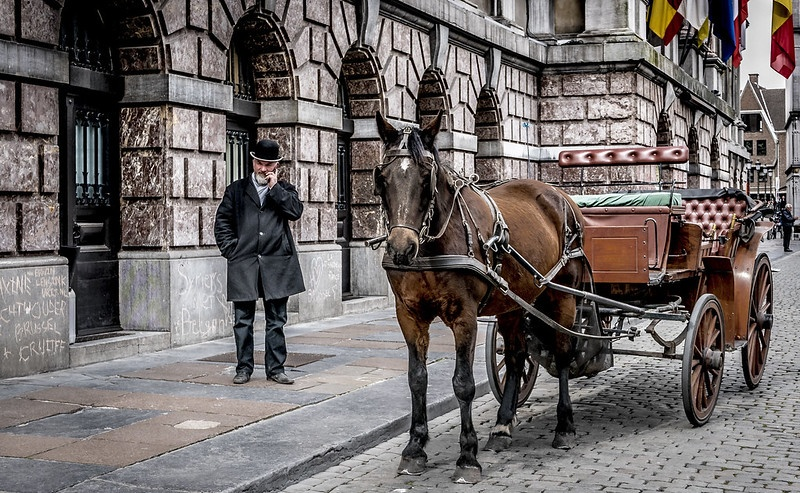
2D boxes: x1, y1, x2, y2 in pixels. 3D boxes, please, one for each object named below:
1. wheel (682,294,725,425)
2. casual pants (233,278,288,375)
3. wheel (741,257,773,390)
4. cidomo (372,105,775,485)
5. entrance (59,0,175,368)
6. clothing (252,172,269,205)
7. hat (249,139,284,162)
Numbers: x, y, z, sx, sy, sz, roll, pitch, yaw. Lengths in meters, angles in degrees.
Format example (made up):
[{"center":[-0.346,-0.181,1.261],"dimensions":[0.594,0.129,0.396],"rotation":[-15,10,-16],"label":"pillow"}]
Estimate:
[{"center":[3.723,1.418,10.907],"dimensions":[0.440,1.472,1.471],"rotation":[-1,1,33],"label":"wheel"},{"center":[-1.842,1.227,11.812],"dimensions":[0.681,1.115,0.445],"rotation":[1,8,-10],"label":"casual pants"},{"center":[4.843,1.028,12.105],"dimensions":[0.419,1.750,1.692],"rotation":[1,2,30],"label":"wheel"},{"center":[2.229,0.440,11.278],"dimensions":[2.863,3.481,6.370],"rotation":[-4,-5,38],"label":"cidomo"},{"center":[-4.489,-1.102,13.442],"dimensions":[1.144,5.270,1.672],"rotation":[-1,8,-17],"label":"entrance"},{"center":[-1.848,-0.792,11.868],"dimensions":[0.260,0.371,0.199],"rotation":[6,33,-1],"label":"clothing"},{"center":[-1.760,-1.267,11.796],"dimensions":[0.343,0.169,0.411],"rotation":[8,10,-10],"label":"hat"}]
